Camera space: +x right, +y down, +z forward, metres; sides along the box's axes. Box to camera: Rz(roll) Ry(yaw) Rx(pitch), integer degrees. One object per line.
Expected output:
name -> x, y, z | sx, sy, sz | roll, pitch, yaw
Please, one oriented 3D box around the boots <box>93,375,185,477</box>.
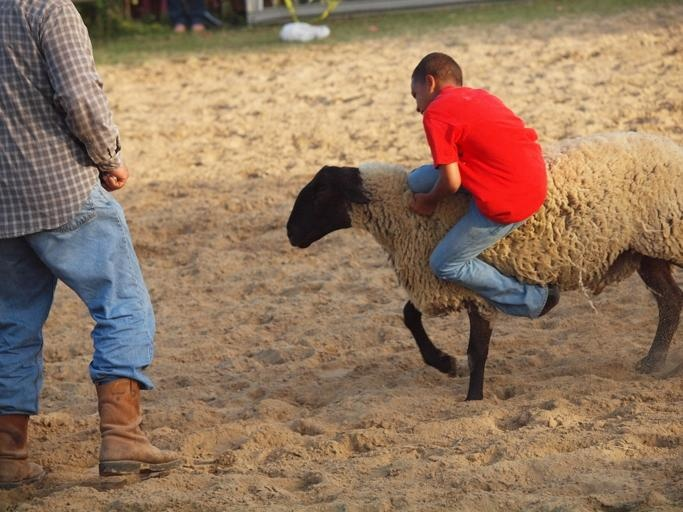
boots -> -1.522, 1.230, 9.015 | 0.373, 0.682, 0.814 | -10, -14, 31
